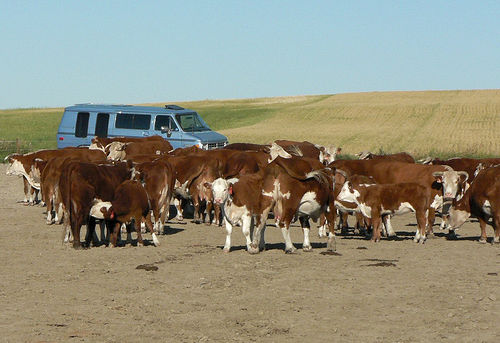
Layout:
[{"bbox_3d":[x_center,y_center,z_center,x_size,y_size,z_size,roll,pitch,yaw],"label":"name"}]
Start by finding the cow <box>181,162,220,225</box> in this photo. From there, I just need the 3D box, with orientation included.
[{"bbox_3d":[-1.708,0.707,34.020,1.377,2.323,3.151,4,-4,-4],"label":"cow"}]

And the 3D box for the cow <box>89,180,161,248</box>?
[{"bbox_3d":[-3.704,1.267,29.120,1.242,2.187,3.563,-1,3,18],"label":"cow"}]

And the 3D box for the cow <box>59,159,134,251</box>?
[{"bbox_3d":[-4.810,0.852,29.590,2.251,2.735,2.092,4,3,12],"label":"cow"}]

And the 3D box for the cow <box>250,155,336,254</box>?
[{"bbox_3d":[1.763,0.902,29.737,1.666,3.136,4.264,1,-1,34],"label":"cow"}]

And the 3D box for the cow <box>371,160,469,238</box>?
[{"bbox_3d":[5.263,1.068,31.734,3.909,2.539,1.576,-2,-4,40],"label":"cow"}]

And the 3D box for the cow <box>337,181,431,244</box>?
[{"bbox_3d":[4.128,1.253,29.985,2.851,2.005,0.843,2,-3,19],"label":"cow"}]
